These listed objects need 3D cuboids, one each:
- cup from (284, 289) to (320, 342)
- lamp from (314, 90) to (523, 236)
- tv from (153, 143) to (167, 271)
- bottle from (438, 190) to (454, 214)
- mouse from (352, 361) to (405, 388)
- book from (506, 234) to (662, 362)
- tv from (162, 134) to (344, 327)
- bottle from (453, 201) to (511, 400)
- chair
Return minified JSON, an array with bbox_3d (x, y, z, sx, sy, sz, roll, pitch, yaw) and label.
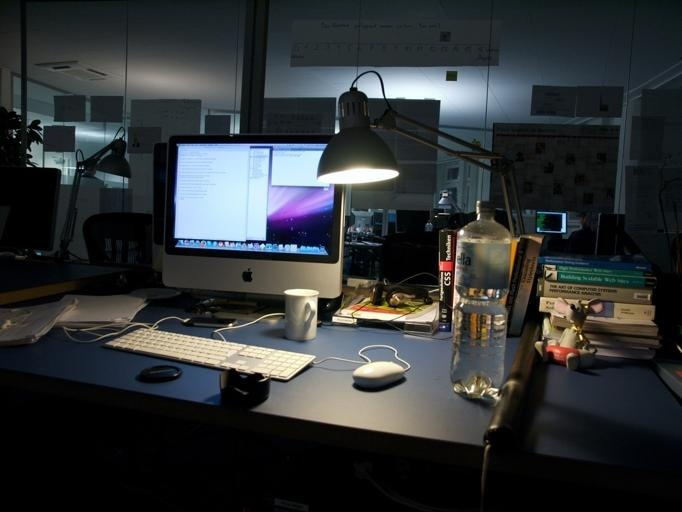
[{"bbox_3d":[-0.114,0.199,1.758,0.099,0.145,0.156,2,4,-19],"label":"cup"},{"bbox_3d":[0.285,-0.289,1.786,0.695,0.514,0.243,1,1,-12],"label":"lamp"},{"bbox_3d":[-0.747,-0.227,2.281,0.047,0.403,0.238,1,2,-22],"label":"tv"},{"bbox_3d":[0.550,-0.273,2.824,0.085,0.113,0.154,0,-2,30],"label":"bottle"},{"bbox_3d":[0.098,0.313,1.474,0.115,0.040,0.067,3,0,-33],"label":"mouse"},{"bbox_3d":[0.776,0.151,1.768,0.358,0.206,0.435,3,8,23],"label":"book"},{"bbox_3d":[-0.290,-0.117,2.009,0.682,0.619,0.242,4,9,19],"label":"tv"},{"bbox_3d":[0.407,0.099,1.622,0.182,0.506,0.451,5,8,17],"label":"bottle"},{"bbox_3d":[-1.194,-0.072,3.116,0.422,0.295,0.225,3,3,1],"label":"chair"}]
